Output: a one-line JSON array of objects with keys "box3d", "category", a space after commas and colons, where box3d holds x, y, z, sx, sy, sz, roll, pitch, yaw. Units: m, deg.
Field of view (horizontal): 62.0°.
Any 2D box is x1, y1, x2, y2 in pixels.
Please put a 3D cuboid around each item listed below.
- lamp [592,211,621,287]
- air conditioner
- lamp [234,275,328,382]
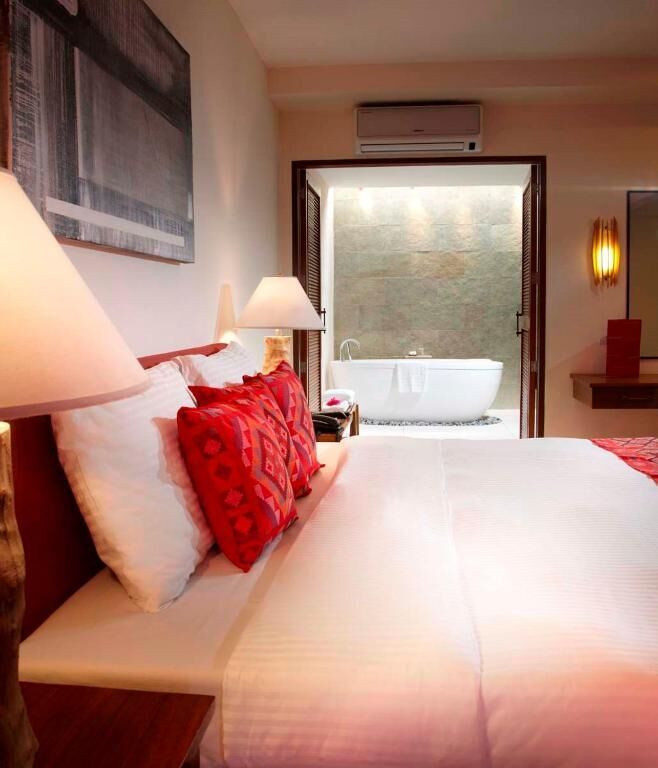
[{"box3d": [1.993, -0.912, 3.938, 0.178, 0.478, 0.175, -5, -15, 45], "category": "lamp"}, {"box3d": [0.642, -1.806, 3.926, 0.892, 0.393, 0.334, 3, 16, 9], "category": "air conditioner"}, {"box3d": [-0.249, -0.285, 2.947, 0.471, 0.715, 0.425, -4, 6, -42], "category": "lamp"}]
